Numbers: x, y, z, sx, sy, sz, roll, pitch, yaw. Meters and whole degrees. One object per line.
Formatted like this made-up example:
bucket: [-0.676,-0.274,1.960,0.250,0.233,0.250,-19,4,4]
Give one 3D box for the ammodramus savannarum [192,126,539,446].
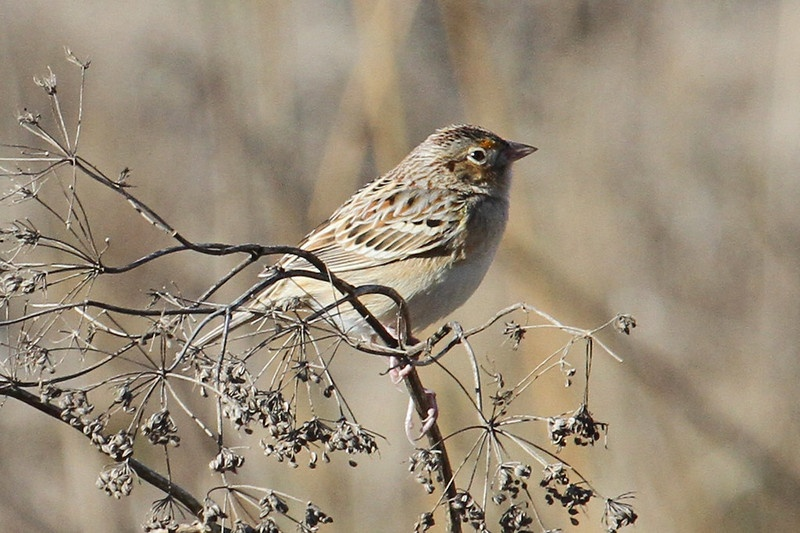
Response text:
ammodramus savannarum: [-0.719,-0.365,11.162,4.374,1.576,3.538,1,-88,-5]
